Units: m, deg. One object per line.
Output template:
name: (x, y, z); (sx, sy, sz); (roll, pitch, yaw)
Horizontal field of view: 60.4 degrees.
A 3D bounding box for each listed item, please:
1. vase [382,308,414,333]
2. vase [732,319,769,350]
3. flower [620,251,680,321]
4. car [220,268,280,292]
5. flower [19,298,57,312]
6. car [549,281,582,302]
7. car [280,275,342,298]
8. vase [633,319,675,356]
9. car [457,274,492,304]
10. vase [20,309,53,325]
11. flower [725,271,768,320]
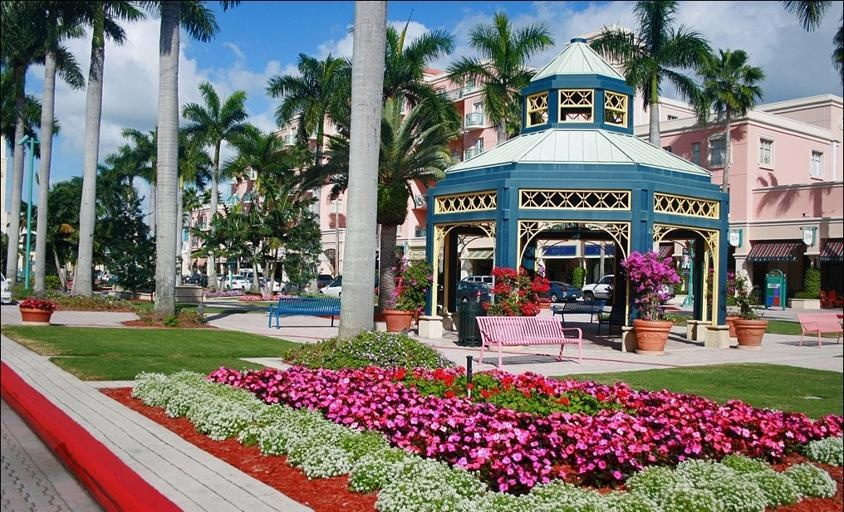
vase: (-0.876, 2.352, 26.278); (1.096, 0.803, 0.928); (4, -5, -26)
vase: (11.355, 2.739, 25.296); (1.107, 0.796, 1.067); (3, -9, -11)
flower: (7.424, 0.963, 23.626); (1.518, 2.283, 0.921); (0, -5, 17)
car: (-16.117, 2.333, 68.142); (4.271, 1.490, 1.807); (-4, -3, 22)
flower: (-14.201, 1.776, 26.590); (0.925, 0.291, 0.907); (1, -4, 8)
car: (9.802, 2.502, 49.853); (1.717, 1.156, 3.555); (0, 4, -24)
car: (-9.429, 2.429, 60.082); (5.525, 1.788, 2.474); (1, -3, 6)
vase: (7.486, 2.623, 23.461); (1.157, 0.899, 1.123); (2, -9, -2)
car: (3.294, 1.940, 43.490); (1.287, 0.909, 2.741); (0, 2, -19)
vase: (-14.176, 2.283, 26.699); (0.752, 0.427, 0.727); (1, -8, -7)
flower: (11.554, 1.452, 26.033); (1.032, 1.689, 1.666); (0, -5, 22)
